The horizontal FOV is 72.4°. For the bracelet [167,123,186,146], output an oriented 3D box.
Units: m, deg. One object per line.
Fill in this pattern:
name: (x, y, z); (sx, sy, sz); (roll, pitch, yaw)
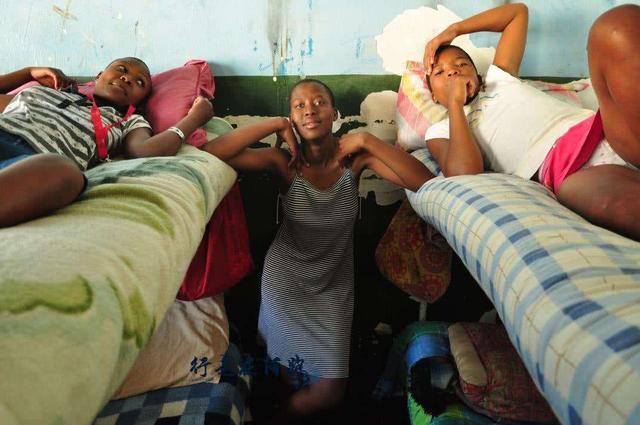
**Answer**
bracelet: (-0.602, -0.331, 1.840); (0.053, 0.074, 0.029); (11, 35, 27)
